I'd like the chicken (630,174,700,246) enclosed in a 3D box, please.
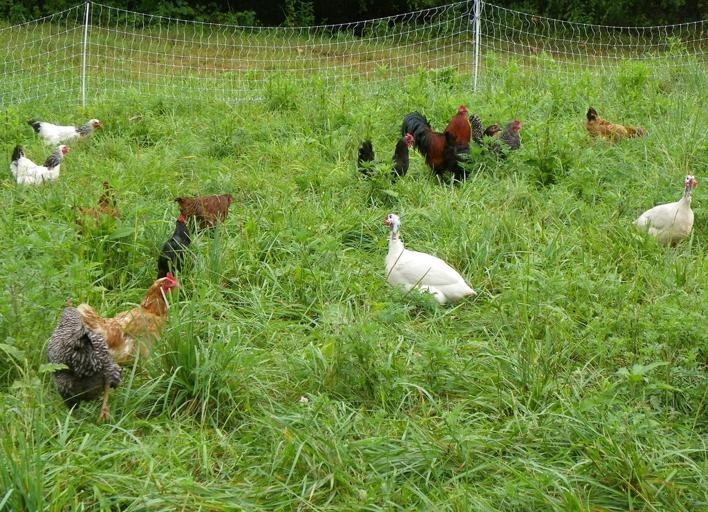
[{"bbox_3d":[2.933,-0.402,6.544,0.464,0.708,0.770,-11,8,-23],"label":"chicken"}]

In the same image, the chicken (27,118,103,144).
[{"bbox_3d":[-3.375,-1.459,8.030,0.826,0.277,0.500,2,19,-9],"label":"chicken"}]

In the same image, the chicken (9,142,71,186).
[{"bbox_3d":[-3.160,-0.886,6.952,0.570,0.526,0.211,0,-7,-25],"label":"chicken"}]

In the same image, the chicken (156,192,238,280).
[{"bbox_3d":[-1.401,-0.248,6.111,0.309,0.637,1.150,13,29,5],"label":"chicken"}]

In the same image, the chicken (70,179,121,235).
[{"bbox_3d":[-2.273,-0.430,6.120,0.386,0.295,0.890,-4,21,-23],"label":"chicken"}]

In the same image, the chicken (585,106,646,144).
[{"bbox_3d":[3.117,-1.556,8.294,0.675,0.335,0.483,12,20,21],"label":"chicken"}]

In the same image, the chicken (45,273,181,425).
[{"bbox_3d":[-1.674,0.638,4.799,0.534,0.679,0.931,16,22,33],"label":"chicken"}]
